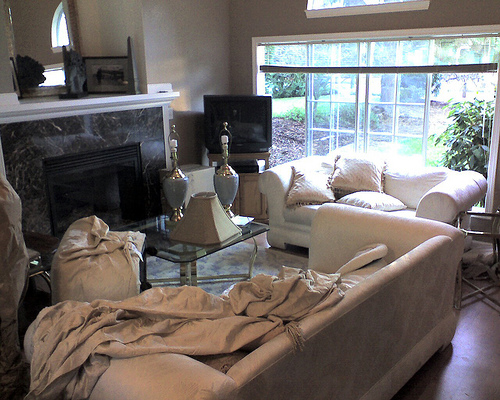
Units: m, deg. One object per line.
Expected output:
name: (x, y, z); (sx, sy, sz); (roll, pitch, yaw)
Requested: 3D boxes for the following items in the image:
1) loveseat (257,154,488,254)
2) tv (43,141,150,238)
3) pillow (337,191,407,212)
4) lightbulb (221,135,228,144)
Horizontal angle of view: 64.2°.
loveseat: (1.212, 0.116, 4.156); (2.050, 0.955, 1.046); (10, 16, 42)
tv: (-1.493, -0.122, 3.784); (0.264, 0.811, 0.818); (5, 13, 34)
pillow: (1.239, -0.028, 4.082); (0.804, 0.195, 0.720); (-3, 3, 34)
lightbulb: (-0.216, -0.509, 3.378); (0.063, 0.071, 0.067); (3, 8, 10)
